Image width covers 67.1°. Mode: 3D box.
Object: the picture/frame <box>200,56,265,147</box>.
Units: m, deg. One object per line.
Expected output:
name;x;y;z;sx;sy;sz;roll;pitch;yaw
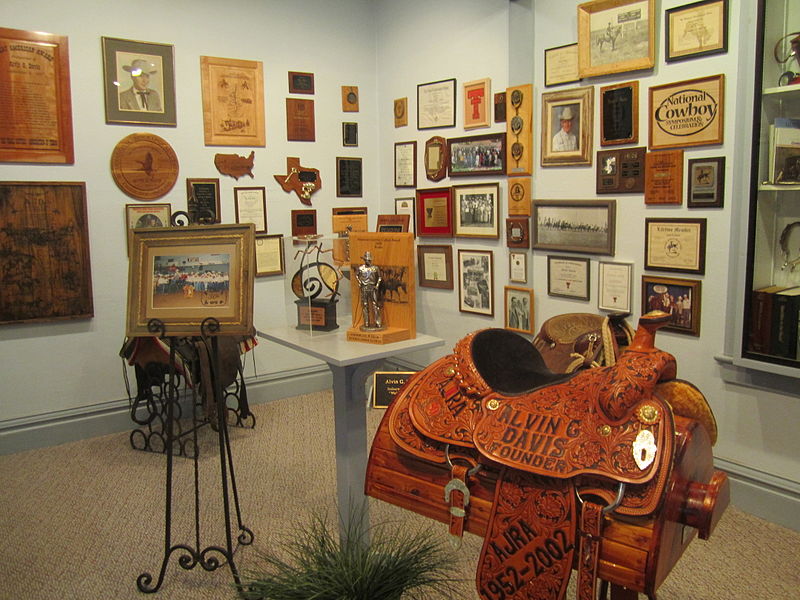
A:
picture/frame;-1.309;-1.528;4.622;0.610;0.908;0.067;-5;11;-31

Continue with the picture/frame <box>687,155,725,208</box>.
picture/frame;1.672;-0.643;3.277;0.046;0.383;0.242;-4;7;-36

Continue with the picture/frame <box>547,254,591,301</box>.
picture/frame;1.104;-0.147;3.906;0.020;0.278;0.249;-9;12;-40

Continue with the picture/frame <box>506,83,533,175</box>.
picture/frame;0.803;-1.136;4.089;0.085;0.584;0.211;-8;11;-41

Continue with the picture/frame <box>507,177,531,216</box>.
picture/frame;0.819;-0.707;4.126;0.034;0.355;0.221;-7;10;-42

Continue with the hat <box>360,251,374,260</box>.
hat;-0.166;-0.215;2.987;0.031;0.045;0.047;0;8;-14

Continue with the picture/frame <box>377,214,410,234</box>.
picture/frame;-0.064;-0.639;5.018;0.289;0.126;0.201;1;9;10

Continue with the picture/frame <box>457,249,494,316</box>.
picture/frame;0.579;-0.140;4.551;0.029;0.609;0.421;-7;9;-35

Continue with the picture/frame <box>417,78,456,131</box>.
picture/frame;0.294;-1.519;4.692;0.029;0.426;0.408;-7;9;-41

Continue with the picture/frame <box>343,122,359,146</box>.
picture/frame;-0.434;-1.428;5.190;0.023;0.241;0.192;5;7;42

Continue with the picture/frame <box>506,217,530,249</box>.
picture/frame;0.819;-0.463;4.176;0.040;0.234;0.190;-3;6;-33

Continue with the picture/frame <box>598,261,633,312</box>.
picture/frame;1.315;-0.085;3.663;0.025;0.404;0.251;-6;8;-35

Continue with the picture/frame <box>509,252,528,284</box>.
picture/frame;0.829;-0.225;4.212;0.036;0.262;0.196;-2;4;-33

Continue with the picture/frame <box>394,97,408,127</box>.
picture/frame;0.006;-1.570;5.039;0.027;0.292;0.246;0;2;-28

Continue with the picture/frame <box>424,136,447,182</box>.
picture/frame;0.284;-1.112;4.745;0.031;0.434;0.296;-8;13;-38

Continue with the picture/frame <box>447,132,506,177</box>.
picture/frame;0.575;-1.059;4.400;0.015;0.241;0.353;-6;8;-44

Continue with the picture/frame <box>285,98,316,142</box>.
picture/frame;-0.829;-1.471;4.926;0.320;0.456;0.041;-3;4;-41

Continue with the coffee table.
coffee table;-0.238;0.686;3.025;0.618;1.034;0.808;-8;12;-42

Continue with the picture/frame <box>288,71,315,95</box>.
picture/frame;-0.817;-1.761;4.902;0.188;0.156;0.020;-5;8;-40

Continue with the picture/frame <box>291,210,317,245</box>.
picture/frame;-0.799;-0.650;5.030;0.244;0.210;0.045;-8;12;-41

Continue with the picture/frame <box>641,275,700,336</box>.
picture/frame;1.452;0.029;3.190;0.021;0.330;0.295;-6;8;-41

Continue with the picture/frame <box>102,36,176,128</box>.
picture/frame;-1.881;-1.557;4.285;0.597;0.816;0.027;-3;4;-36

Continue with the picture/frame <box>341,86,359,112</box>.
picture/frame;-0.438;-1.713;5.149;0.031;0.254;0.204;5;8;45

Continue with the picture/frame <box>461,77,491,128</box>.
picture/frame;0.555;-1.413;4.387;0.065;0.336;0.278;-6;10;-33

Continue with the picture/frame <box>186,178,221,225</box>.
picture/frame;-1.476;-0.751;4.540;0.250;0.321;0.170;-4;9;-22

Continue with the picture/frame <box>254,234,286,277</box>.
picture/frame;-1.019;-0.355;4.665;0.364;0.462;0.029;-6;10;-44

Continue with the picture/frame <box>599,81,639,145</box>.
picture/frame;1.303;-1.093;3.581;0.052;0.357;0.245;-7;11;-37

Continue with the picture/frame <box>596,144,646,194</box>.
picture/frame;1.331;-0.778;3.594;0.028;0.291;0.274;-6;9;-40

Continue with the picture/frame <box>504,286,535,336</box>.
picture/frame;0.820;0.071;4.098;0.024;0.364;0.290;-5;8;-35

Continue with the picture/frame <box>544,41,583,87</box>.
picture/frame;1.042;-1.492;3.813;0.040;0.298;0.286;-9;12;-42

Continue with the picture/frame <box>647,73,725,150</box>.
picture/frame;1.586;-1.031;3.309;0.429;0.455;0.032;1;3;44

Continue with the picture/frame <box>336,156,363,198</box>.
picture/frame;-0.453;-1.062;5.206;0.318;0.418;0.030;-4;10;-33
